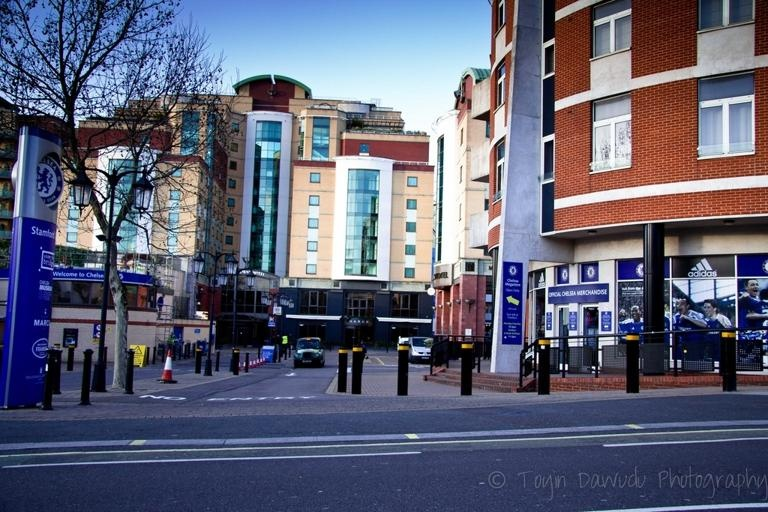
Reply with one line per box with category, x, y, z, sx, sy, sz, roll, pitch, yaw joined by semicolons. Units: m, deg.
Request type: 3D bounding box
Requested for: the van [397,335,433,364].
van;2.519;6.782;57.685;1.347;1.823;2.936;2;-7;-6
